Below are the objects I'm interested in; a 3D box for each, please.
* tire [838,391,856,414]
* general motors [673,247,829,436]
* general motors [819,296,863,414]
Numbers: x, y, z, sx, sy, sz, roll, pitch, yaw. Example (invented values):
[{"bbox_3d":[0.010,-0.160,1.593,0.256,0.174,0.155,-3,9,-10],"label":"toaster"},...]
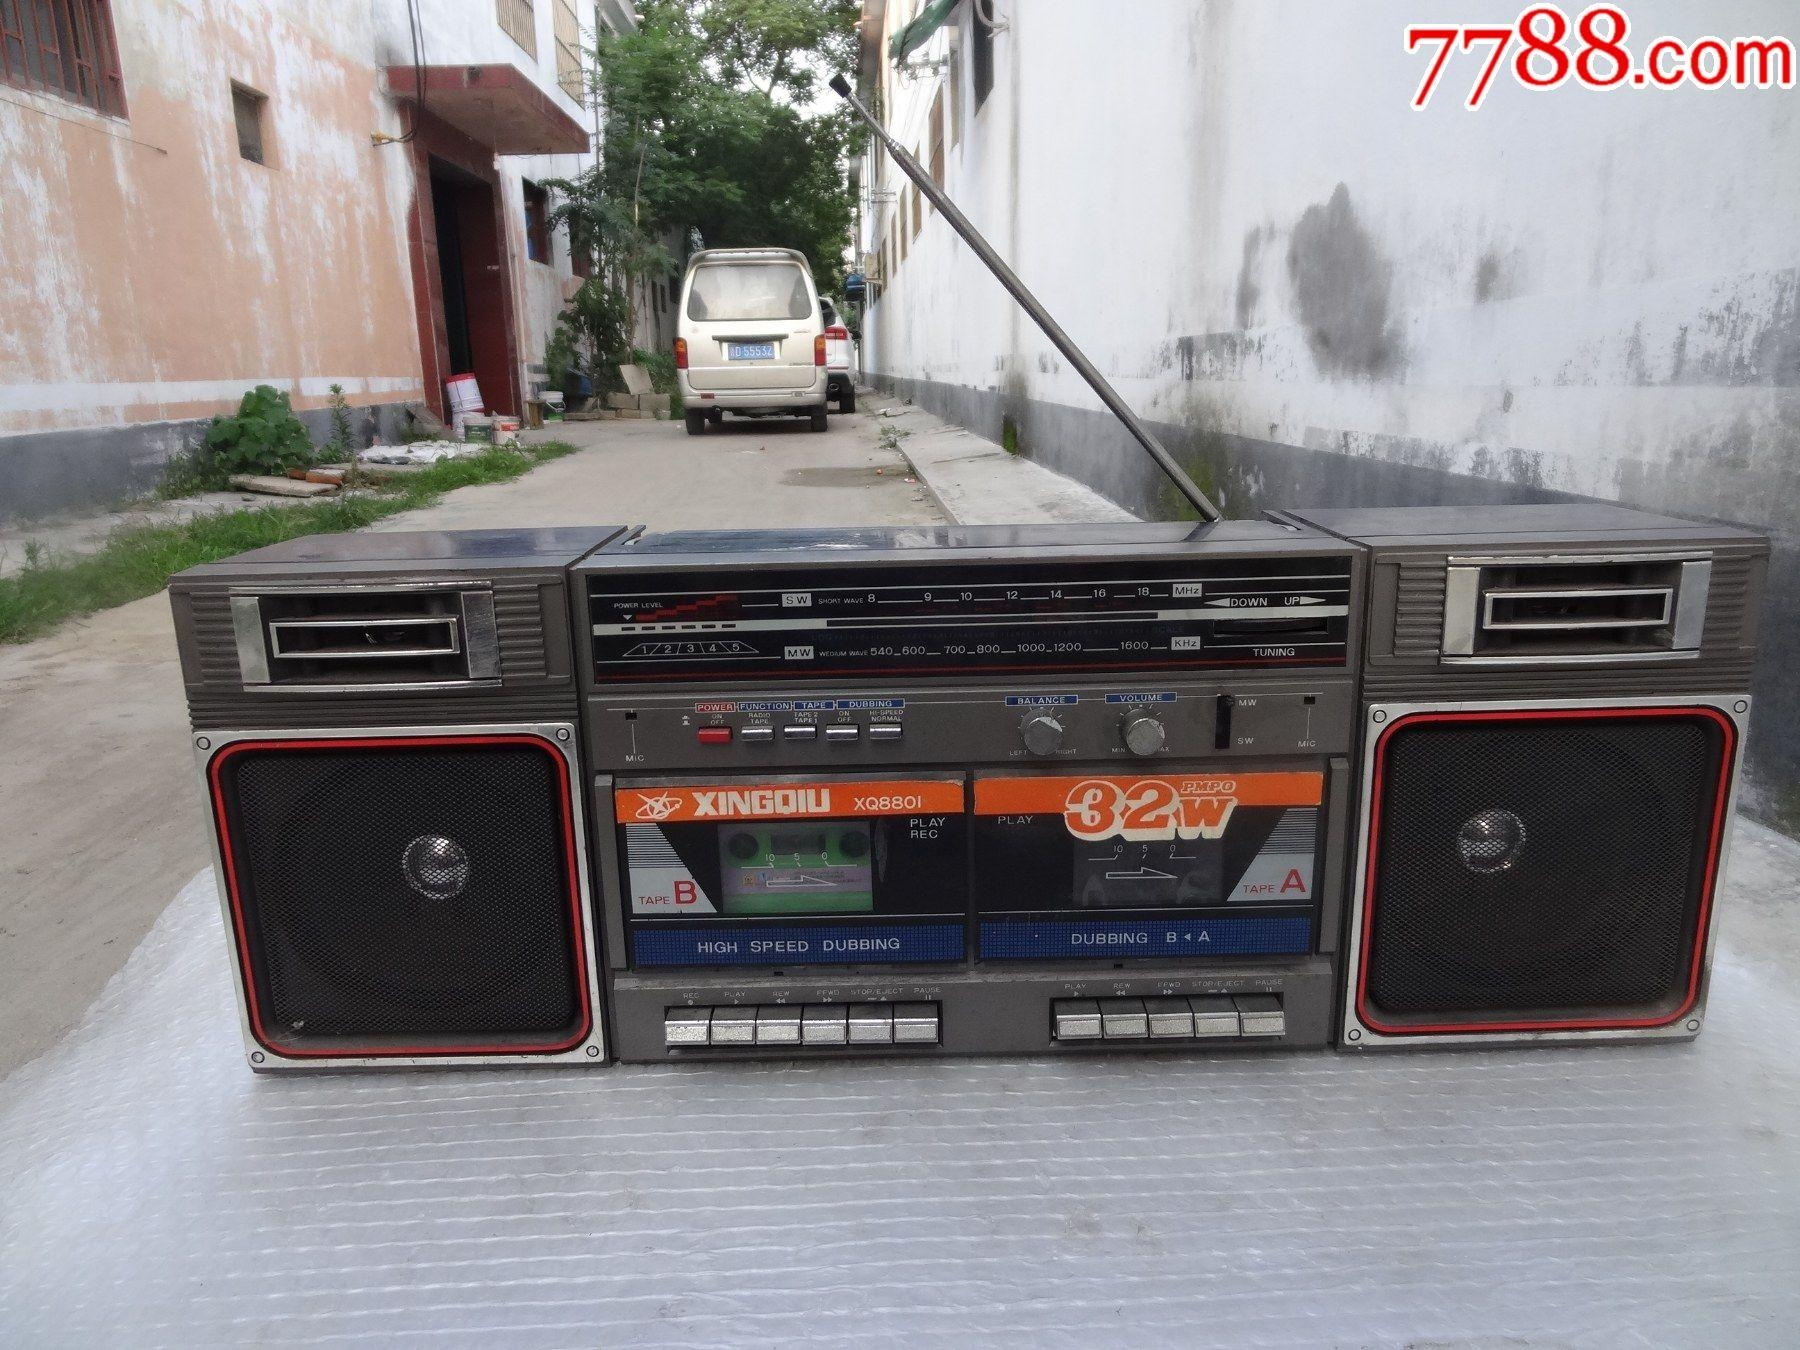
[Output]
[{"bbox_3d":[-0.600,-3.045,15.677,0.300,0.288,0.161,-1,15,1],"label":"tire"},{"bbox_3d":[-1.260,-2.872,11.926,0.929,0.912,1.670,0,25,-2],"label":"general motors"},{"bbox_3d":[-0.618,-3.161,14.063,0.605,0.596,1.394,0,22,1],"label":"general motors"}]
